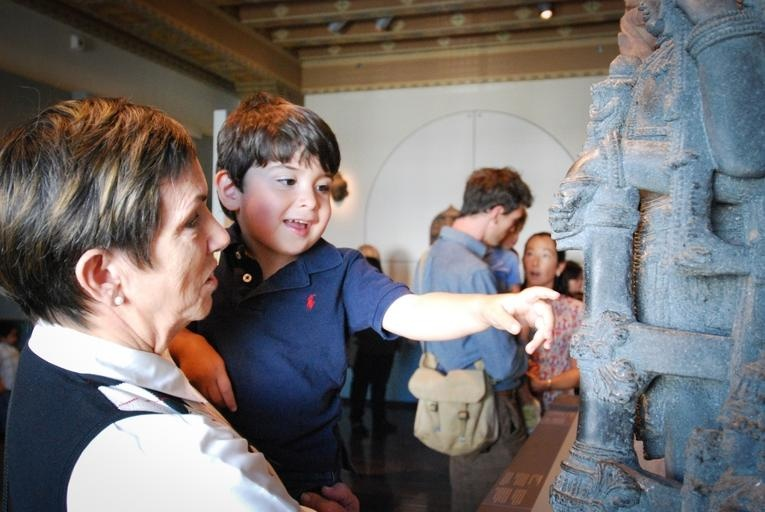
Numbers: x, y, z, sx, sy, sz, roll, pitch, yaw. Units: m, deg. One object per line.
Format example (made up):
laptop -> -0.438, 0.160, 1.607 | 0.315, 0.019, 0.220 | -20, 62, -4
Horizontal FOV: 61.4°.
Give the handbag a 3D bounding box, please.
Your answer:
handbag -> 0.308, 0.582, 2.685 | 0.348, 0.466, 0.239 | -2, 4, 29
